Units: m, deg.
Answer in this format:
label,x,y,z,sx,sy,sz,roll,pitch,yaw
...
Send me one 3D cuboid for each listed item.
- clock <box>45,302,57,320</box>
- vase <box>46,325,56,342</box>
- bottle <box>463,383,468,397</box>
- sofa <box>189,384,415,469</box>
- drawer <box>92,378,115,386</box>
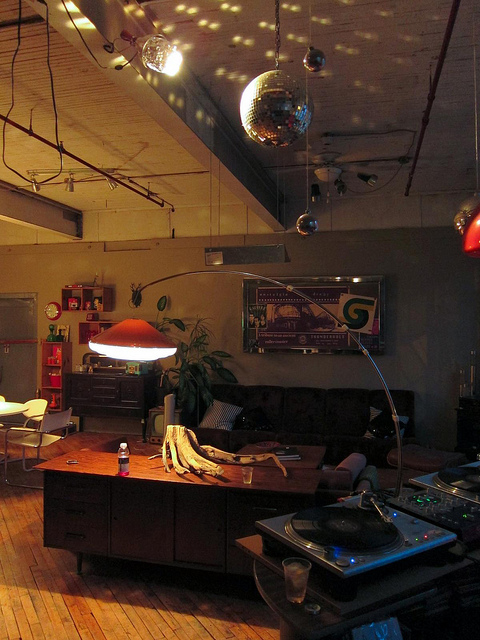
label,x,y,z,sx,sy,sz,roll,pitch,yaw
clock,-2.805,-0.133,8.315,0.232,0.209,0.071,20,8,18
vase,-2.780,0.203,8.193,0.140,0.253,0.169,-9,9,-15
bottle,2.647,0.809,6.579,0.051,0.132,0.114,-4,9,23
sofa,0.787,1.161,6.894,2.902,0.697,0.880,4,0,6
drawer,-1.833,0.825,7.487,0.224,0.118,0.128,0,-3,7
